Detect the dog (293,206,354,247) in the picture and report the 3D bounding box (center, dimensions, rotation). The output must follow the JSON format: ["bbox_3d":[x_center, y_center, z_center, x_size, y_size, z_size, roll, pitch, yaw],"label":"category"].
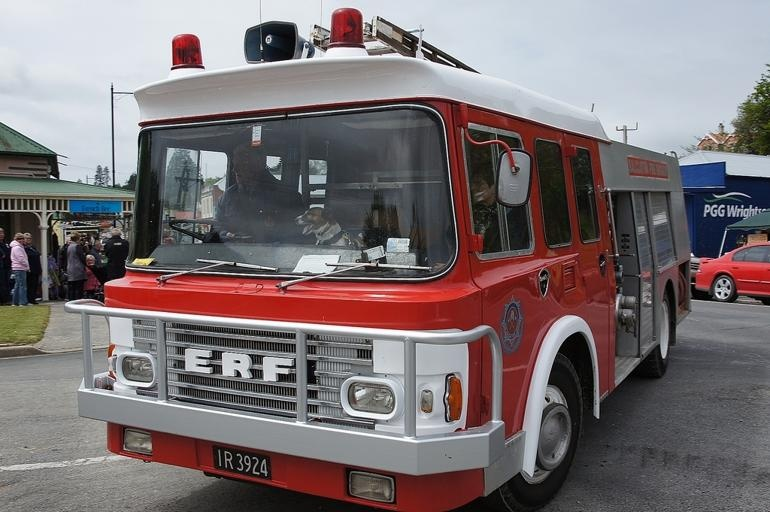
[{"bbox_3d":[-0.400,-0.204,4.196,0.613,0.283,0.207,6,-10,-40],"label":"dog"}]
